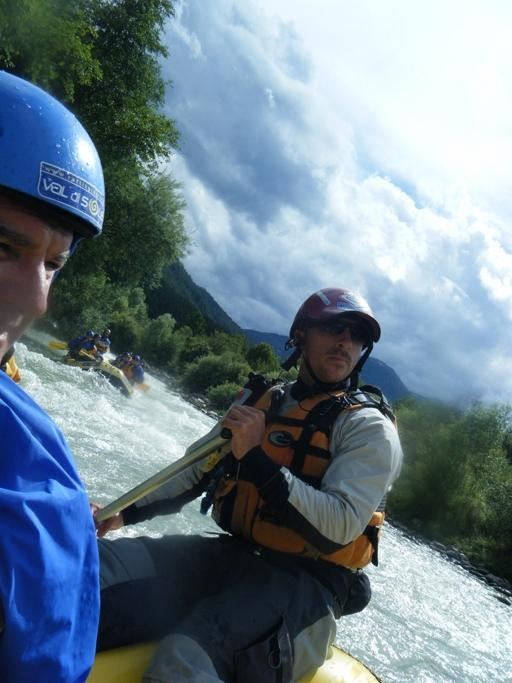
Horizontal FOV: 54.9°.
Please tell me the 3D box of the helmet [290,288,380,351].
[{"bbox_3d":[0.509,-0.188,3.189,0.394,0.300,0.571,20,-23,-16],"label":"helmet"}]
